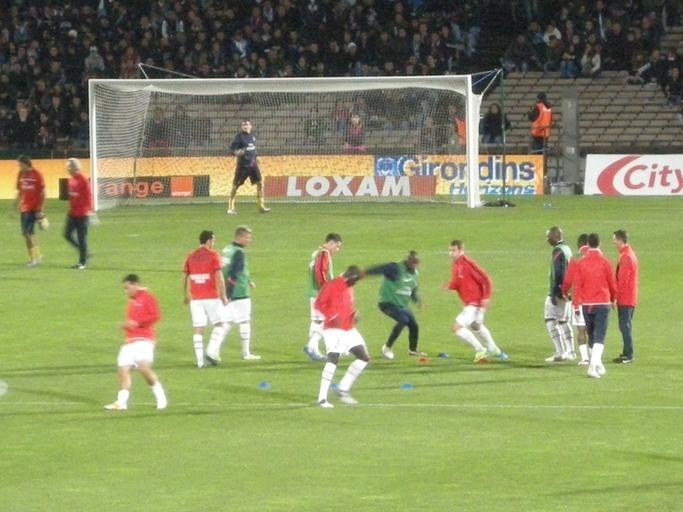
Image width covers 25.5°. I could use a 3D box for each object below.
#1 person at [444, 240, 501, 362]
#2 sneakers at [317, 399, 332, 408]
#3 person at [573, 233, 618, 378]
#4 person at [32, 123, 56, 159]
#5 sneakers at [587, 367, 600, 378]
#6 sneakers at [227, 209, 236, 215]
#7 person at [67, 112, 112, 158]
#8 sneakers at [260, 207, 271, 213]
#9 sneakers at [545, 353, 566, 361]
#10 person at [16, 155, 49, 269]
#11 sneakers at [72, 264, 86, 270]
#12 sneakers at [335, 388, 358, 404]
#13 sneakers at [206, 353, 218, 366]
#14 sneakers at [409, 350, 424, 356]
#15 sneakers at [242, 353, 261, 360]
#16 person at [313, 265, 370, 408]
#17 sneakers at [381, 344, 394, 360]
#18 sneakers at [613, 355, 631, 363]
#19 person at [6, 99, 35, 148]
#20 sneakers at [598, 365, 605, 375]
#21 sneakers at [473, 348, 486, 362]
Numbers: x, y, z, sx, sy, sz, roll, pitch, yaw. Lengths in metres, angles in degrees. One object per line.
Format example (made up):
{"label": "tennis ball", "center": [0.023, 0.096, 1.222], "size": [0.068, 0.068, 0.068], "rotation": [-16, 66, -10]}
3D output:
{"label": "person", "center": [2.742, 0.944, 31.482], "size": [0.951, 1.790, 0.696], "rotation": [1, 0, 5]}
{"label": "sneakers", "center": [-0.306, 2.840, 28.745], "size": [0.327, 0.220, 0.120], "rotation": [2, 27, 0]}
{"label": "person", "center": [5.112, 1.184, 30.385], "size": [0.821, 1.817, 0.474], "rotation": [1, 0, 9]}
{"label": "person", "center": [-10.807, -4.331, 55.163], "size": [0.875, 1.772, 0.933], "rotation": [-4, 4, -21]}
{"label": "sneakers", "center": [5.091, 2.346, 30.330], "size": [0.255, 0.248, 0.300], "rotation": [1, 0, 9]}
{"label": "sneakers", "center": [-3.323, -1.336, 45.656], "size": [0.111, 0.128, 0.305], "rotation": [-3, 2, -31]}
{"label": "person", "center": [-9.026, -4.522, 54.608], "size": [0.769, 0.498, 1.968], "rotation": [-20, 47, -5]}
{"label": "sneakers", "center": [-2.306, -1.394, 45.833], "size": [0.314, 0.223, 0.105], "rotation": [-4, 11, 4]}
{"label": "sneakers", "center": [4.478, 2.118, 31.582], "size": [0.464, 0.192, 0.158], "rotation": [1, 6, 5]}
{"label": "person", "center": [-7.776, -1.118, 37.826], "size": [0.686, 2.363, 1.185], "rotation": [1, 0, -12]}
{"label": "sneakers", "center": [-6.566, 0.273, 37.927], "size": [0.230, 0.098, 0.132], "rotation": [7, 5, -2]}
{"label": "sneakers", "center": [0.089, 2.728, 29.069], "size": [0.561, 0.236, 0.199], "rotation": [22, -9, -9]}
{"label": "sneakers", "center": [-2.632, 2.137, 30.858], "size": [0.199, 0.290, 0.163], "rotation": [-11, -3, -15]}
{"label": "sneakers", "center": [1.612, 2.061, 32.010], "size": [0.346, 0.148, 0.118], "rotation": [0, 2, 4]}
{"label": "sneakers", "center": [-1.870, 2.091, 31.576], "size": [0.378, 0.160, 0.135], "rotation": [0, 6, -7]}
{"label": "person", "center": [0.023, 1.548, 28.946], "size": [1.018, 2.042, 0.674], "rotation": [1, 0, 0]}
{"label": "sneakers", "center": [0.980, 2.053, 31.888], "size": [0.189, 0.223, 0.328], "rotation": [-3, 2, -35]}
{"label": "sneakers", "center": [5.829, 2.151, 31.276], "size": [0.385, 0.171, 0.140], "rotation": [3, 3, 8]}
{"label": "person", "center": [-11.723, -4.764, 55.147], "size": [1.171, 1.472, 0.555], "rotation": [1, -1, 42]}
{"label": "sneakers", "center": [5.284, 2.305, 30.503], "size": [0.129, 0.239, 0.675], "rotation": [1, 0, 12]}
{"label": "sneakers", "center": [2.908, 2.078, 31.498], "size": [0.159, 0.370, 0.136], "rotation": [30, 3, -21]}
